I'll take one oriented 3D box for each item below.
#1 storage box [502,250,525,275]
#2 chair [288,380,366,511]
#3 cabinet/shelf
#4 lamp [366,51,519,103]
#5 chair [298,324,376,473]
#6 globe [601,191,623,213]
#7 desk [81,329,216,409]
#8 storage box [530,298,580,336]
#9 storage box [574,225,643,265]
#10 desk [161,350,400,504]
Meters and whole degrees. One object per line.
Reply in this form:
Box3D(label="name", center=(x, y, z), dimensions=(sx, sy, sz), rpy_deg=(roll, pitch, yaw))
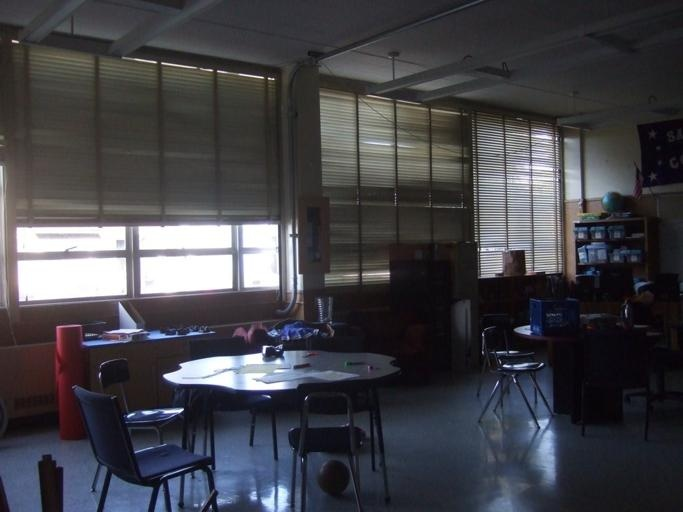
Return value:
Box3D(label="storage box", center=(3.230, 0.125, 11.239), dimensions=(0.447, 0.511, 0.449), rpy_deg=(0, -1, -14))
Box3D(label="chair", center=(-0.148, 1.628, 5.226), dimensions=(0.666, 1.113, 1.032), rpy_deg=(-2, 5, -4))
Box3D(label="cabinet/shelf", center=(5.131, 0.168, 10.697), dimensions=(0.620, 2.370, 1.410), rpy_deg=(13, -16, -35))
Box3D(label="lamp", center=(1.414, -2.668, 8.407), dimensions=(1.890, 0.460, 1.104), rpy_deg=(1, 6, 29))
Box3D(label="chair", center=(-0.022, 1.197, 4.961), dimensions=(0.731, 1.181, 0.657), rpy_deg=(5, 3, -10))
Box3D(label="globe", center=(5.319, -1.049, 11.391), dimensions=(0.360, 0.431, 0.243), rpy_deg=(1, 5, 25))
Box3D(label="desk", center=(-2.461, 1.490, 7.470), dimensions=(1.453, 0.881, 0.488), rpy_deg=(-2, -1, -33))
Box3D(label="storage box", center=(2.495, 0.698, 6.865), dimensions=(0.498, 0.384, 0.505), rpy_deg=(-3, 1, 9))
Box3D(label="storage box", center=(5.232, -0.219, 11.279), dimensions=(0.733, 0.553, 0.249), rpy_deg=(-3, -6, 45))
Box3D(label="desk", center=(-0.450, 1.685, 5.377), dimensions=(1.579, 0.832, 1.471), rpy_deg=(-3, 1, -8))
